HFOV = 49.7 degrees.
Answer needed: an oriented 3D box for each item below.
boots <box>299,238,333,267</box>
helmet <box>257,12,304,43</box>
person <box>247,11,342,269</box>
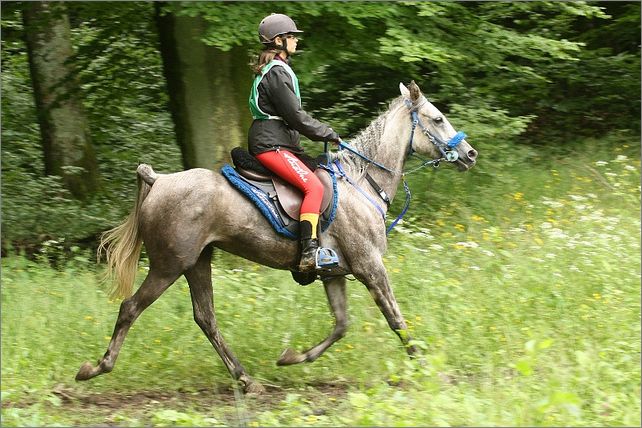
[{"bbox_3d":[-0.039,0.501,9.073,0.483,0.391,0.180,-5,17,-12],"label":"boots"},{"bbox_3d":[-0.481,-2.530,9.261,0.760,0.304,0.460,-4,16,18],"label":"helmet"},{"bbox_3d":[-0.406,-0.959,9.098,0.991,3.329,1.248,-9,18,-16],"label":"person"}]
